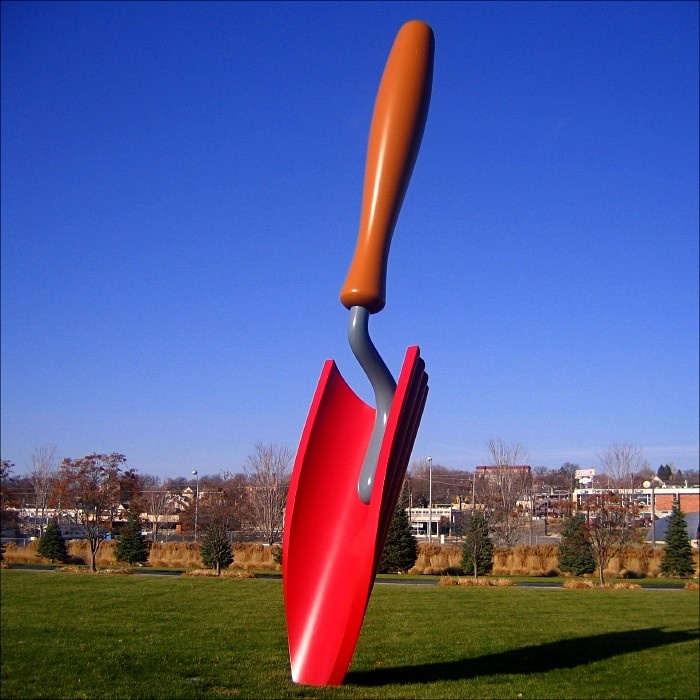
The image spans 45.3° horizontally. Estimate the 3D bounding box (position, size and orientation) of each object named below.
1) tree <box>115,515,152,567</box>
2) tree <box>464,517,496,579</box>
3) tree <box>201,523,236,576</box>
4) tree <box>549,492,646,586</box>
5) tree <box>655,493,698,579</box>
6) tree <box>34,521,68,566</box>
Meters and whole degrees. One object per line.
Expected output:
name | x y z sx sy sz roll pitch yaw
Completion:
tree | -7.779 6.909 30.433 1.214 2.515 1.427 2 -10 -12
tree | 4.060 6.315 27.272 0.894 1.996 1.891 -4 -11 23
tree | -4.340 6.498 27.432 1.200 2.432 1.334 5 -14 -24
tree | 8.527 6.086 28.247 2.747 4.015 2.275 10 -9 -37
tree | 11.111 6.476 28.610 1.096 2.433 1.754 -4 -11 25
tree | -10.780 7.118 30.845 1.072 1.668 1.234 3 -10 -16
